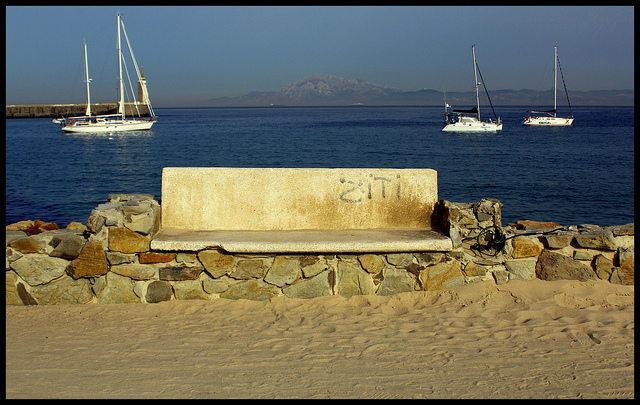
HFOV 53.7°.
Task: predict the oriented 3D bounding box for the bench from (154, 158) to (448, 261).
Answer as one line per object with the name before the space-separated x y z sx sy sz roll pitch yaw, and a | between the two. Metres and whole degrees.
bench | -0.373 0.139 11.187 5.079 1.587 1.133 -1 1 -4
